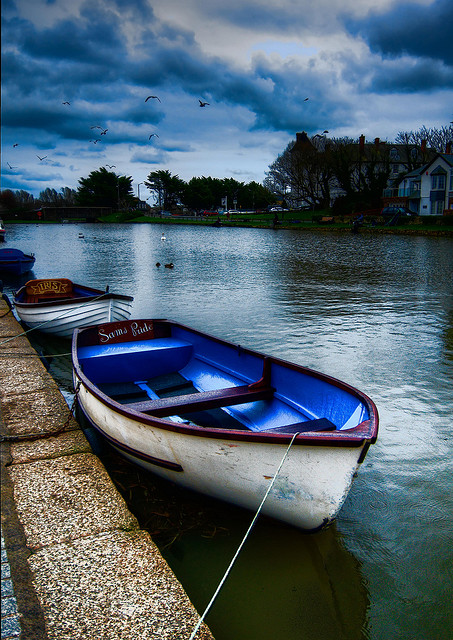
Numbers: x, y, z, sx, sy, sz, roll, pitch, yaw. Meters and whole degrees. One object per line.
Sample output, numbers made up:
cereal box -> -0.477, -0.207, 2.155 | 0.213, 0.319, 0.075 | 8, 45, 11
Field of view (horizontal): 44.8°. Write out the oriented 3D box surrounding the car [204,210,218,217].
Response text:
car -> -3.066, -21.099, 106.708 | 2.309, 1.711, 3.808 | -2, 11, -9

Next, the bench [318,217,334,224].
bench -> 12.436, -12.271, 67.468 | 1.678, 0.645, 2.023 | 0, 12, -4

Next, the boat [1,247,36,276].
boat -> -8.911, -2.375, 23.218 | 1.254, 1.053, 1.684 | -4, 14, -21
